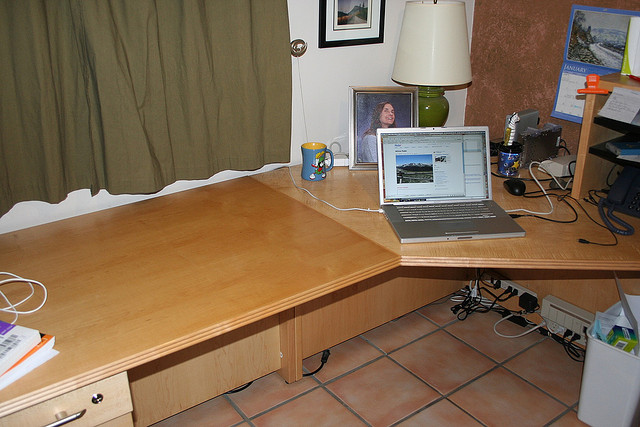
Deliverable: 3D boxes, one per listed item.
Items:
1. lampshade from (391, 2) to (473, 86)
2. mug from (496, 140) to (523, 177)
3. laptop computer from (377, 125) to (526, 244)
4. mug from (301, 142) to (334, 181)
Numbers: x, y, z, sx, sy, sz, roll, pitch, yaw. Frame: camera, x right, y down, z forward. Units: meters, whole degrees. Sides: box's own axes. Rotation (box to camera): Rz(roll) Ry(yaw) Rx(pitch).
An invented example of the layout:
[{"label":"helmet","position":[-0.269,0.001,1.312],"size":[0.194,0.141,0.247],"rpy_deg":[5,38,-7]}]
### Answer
[{"label":"lampshade","position":[0.495,-0.853,2.267],"size":[0.412,0.421,0.394],"rpy_deg":[-4,33,-5]},{"label":"mug","position":[1.003,-0.284,2.370],"size":[0.149,0.150,0.144],"rpy_deg":[-8,17,-33]},{"label":"laptop computer","position":[0.561,-0.144,1.900],"size":[0.574,0.340,0.461],"rpy_deg":[-5,28,-12]},{"label":"mug","position":[-0.013,-0.265,2.313],"size":[0.199,0.167,0.122],"rpy_deg":[-1,20,-10]}]
